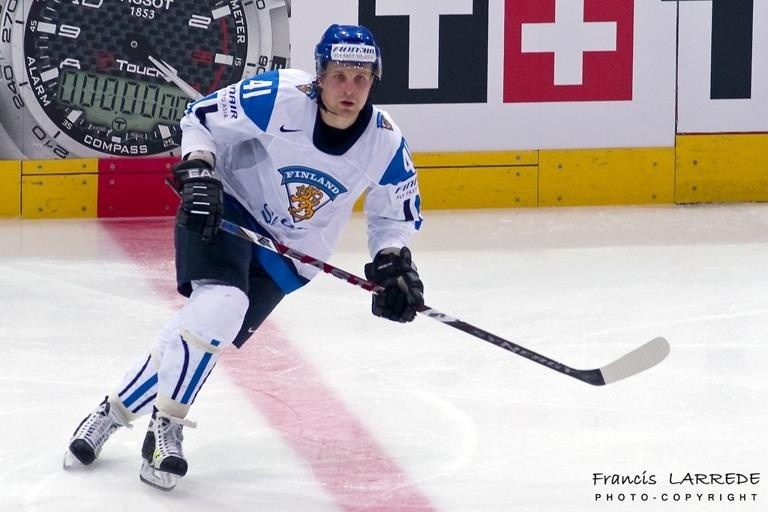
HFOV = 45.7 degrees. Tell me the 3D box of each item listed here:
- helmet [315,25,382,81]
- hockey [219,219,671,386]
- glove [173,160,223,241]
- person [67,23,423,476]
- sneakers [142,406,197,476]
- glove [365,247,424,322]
[{"bbox_3d":[-0.137,-0.726,3.275,0.227,0.192,0.244,-1,14,-4],"label":"helmet"},{"bbox_3d":[0.271,0.232,4.054,1.548,0.179,0.215,20,-4,1],"label":"hockey"},{"bbox_3d":[-0.623,-0.193,3.075,0.164,0.269,0.110,-1,-12,-11],"label":"glove"},{"bbox_3d":[-0.450,-0.043,3.239,1.234,1.492,0.513,-7,16,-25],"label":"person"},{"bbox_3d":[-0.731,0.617,3.057,0.159,0.185,0.110,2,15,10],"label":"sneakers"},{"bbox_3d":[0.030,0.110,3.318,0.213,0.270,0.130,-23,-9,24],"label":"glove"}]
